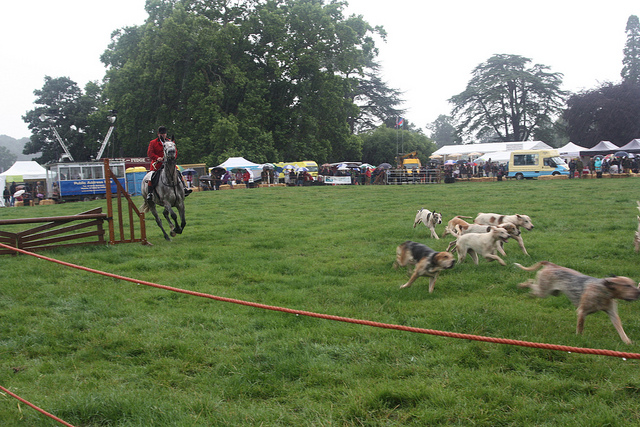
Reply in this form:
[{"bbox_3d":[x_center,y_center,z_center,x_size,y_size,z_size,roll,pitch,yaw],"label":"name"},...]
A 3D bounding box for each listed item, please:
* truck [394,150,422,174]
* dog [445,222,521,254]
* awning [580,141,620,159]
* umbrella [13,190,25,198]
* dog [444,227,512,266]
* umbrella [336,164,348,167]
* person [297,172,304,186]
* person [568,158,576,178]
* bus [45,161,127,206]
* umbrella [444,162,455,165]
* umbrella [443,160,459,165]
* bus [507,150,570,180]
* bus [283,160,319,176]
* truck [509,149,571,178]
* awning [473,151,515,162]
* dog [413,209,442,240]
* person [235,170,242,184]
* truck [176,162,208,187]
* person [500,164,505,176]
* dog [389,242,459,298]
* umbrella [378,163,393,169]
[{"bbox_3d":[9.371,-5.529,58.820,1.988,2.536,4.962,-1,3,3],"label":"truck"},{"bbox_3d":[3.950,0.772,14.431,1.865,0.833,0.551,-2,2,45],"label":"dog"},{"bbox_3d":[27.238,-6.191,54.686,4.166,1.683,3.817,0,8,12],"label":"awning"},{"bbox_3d":[-19.636,-1.306,36.697,0.639,0.481,1.238,-4,5,-30],"label":"umbrella"},{"bbox_3d":[4.103,0.818,14.325,1.300,0.982,0.530,1,5,33],"label":"dog"},{"bbox_3d":[2.167,-4.709,55.029,0.515,0.166,0.457,-5,8,-22],"label":"umbrella"},{"bbox_3d":[-1.593,-2.910,46.713,0.479,0.928,1.092,-2,4,0],"label":"person"},{"bbox_3d":[19.678,-3.467,44.027,0.413,1.277,1.363,0,4,25],"label":"person"},{"bbox_3d":[-15.941,-2.221,38.465,4.908,2.673,12.264,-4,5,-25],"label":"bus"},{"bbox_3d":[12.926,-5.028,56.663,0.776,0.230,0.728,0,1,2],"label":"umbrella"},{"bbox_3d":[13.744,-5.378,58.805,1.500,0.524,1.428,-1,2,5],"label":"umbrella"},{"bbox_3d":[18.676,-4.166,48.193,4.543,2.131,2.621,1,5,37],"label":"bus"},{"bbox_3d":[-1.508,-4.234,51.610,2.405,1.208,1.578,0,7,16],"label":"bus"},{"bbox_3d":[18.531,-4.238,47.795,4.298,2.026,2.461,1,5,39],"label":"truck"},{"bbox_3d":[17.250,-5.563,55.272,2.461,1.016,4.710,-1,4,14],"label":"awning"},{"bbox_3d":[3.466,0.301,18.172,0.668,0.848,1.778,-2,4,3],"label":"dog"},{"bbox_3d":[-6.248,-2.833,43.045,0.539,1.041,2.205,-3,4,-8],"label":"person"},{"bbox_3d":[-10.094,-3.240,43.858,2.404,2.007,2.245,-1,0,-2],"label":"truck"},{"bbox_3d":[15.287,-3.633,47.416,0.300,0.840,1.065,-1,4,17],"label":"person"},{"bbox_3d":[2.092,1.161,13.219,0.713,1.093,2.309,-1,13,-28],"label":"dog"},{"bbox_3d":[6.363,-4.553,53.439,0.957,0.368,0.982,-2,4,-31],"label":"umbrella"}]
